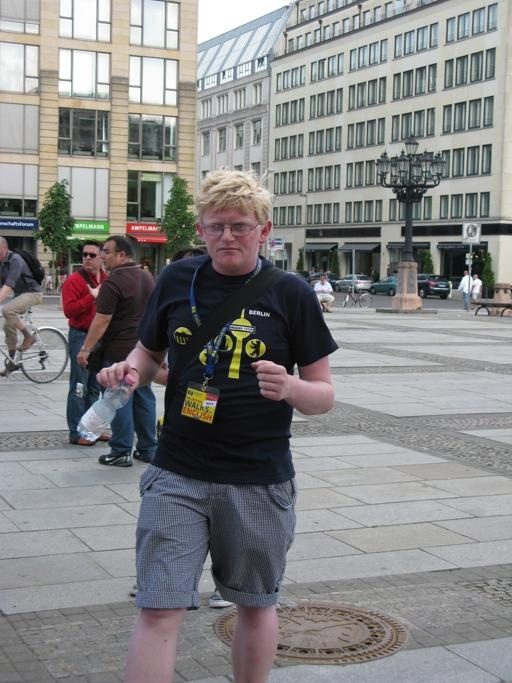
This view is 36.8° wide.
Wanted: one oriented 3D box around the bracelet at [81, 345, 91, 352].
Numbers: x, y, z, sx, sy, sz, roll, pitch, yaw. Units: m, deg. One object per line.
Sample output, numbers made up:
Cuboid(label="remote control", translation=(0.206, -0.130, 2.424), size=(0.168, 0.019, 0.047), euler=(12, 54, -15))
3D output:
Cuboid(label="bracelet", translation=(-1.406, 0.058, 6.303), size=(0.067, 0.034, 0.067), euler=(1, -1, 4))

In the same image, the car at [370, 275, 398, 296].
Cuboid(label="car", translation=(9.077, -3.917, 54.113), size=(2.109, 0.888, 1.259), euler=(6, 6, 39))

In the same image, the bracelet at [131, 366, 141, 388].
Cuboid(label="bracelet", translation=(-0.352, 0.104, 2.244), size=(0.021, 0.044, 0.035), euler=(0, 16, 4))

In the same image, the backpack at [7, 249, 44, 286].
Cuboid(label="backpack", translation=(-3.386, -1.118, 11.299), size=(0.585, 0.477, 0.362), euler=(-13, 19, -8))

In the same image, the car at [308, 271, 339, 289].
Cuboid(label="car", translation=(5.384, -4.800, 60.017), size=(2.619, 1.164, 1.519), euler=(7, 8, 26))

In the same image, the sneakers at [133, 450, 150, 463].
Cuboid(label="sneakers", translation=(-0.958, 0.965, 6.403), size=(0.186, 0.064, 0.068), euler=(19, 18, 38))

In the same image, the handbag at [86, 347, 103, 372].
Cuboid(label="handbag", translation=(-1.043, 0.120, 5.003), size=(0.051, 0.139, 0.115), euler=(4, -2, -6))

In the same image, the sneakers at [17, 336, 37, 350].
Cuboid(label="sneakers", translation=(-3.311, 0.006, 11.029), size=(0.318, 0.140, 0.107), euler=(-39, 12, 52))

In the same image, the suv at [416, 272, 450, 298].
Cuboid(label="suv", translation=(11.957, -3.784, 51.785), size=(1.535, 1.028, 3.077), euler=(1, 7, -7))

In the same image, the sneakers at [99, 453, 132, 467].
Cuboid(label="sneakers", translation=(-1.135, 0.942, 6.187), size=(0.303, 0.109, 0.101), euler=(4, 2, 10))
